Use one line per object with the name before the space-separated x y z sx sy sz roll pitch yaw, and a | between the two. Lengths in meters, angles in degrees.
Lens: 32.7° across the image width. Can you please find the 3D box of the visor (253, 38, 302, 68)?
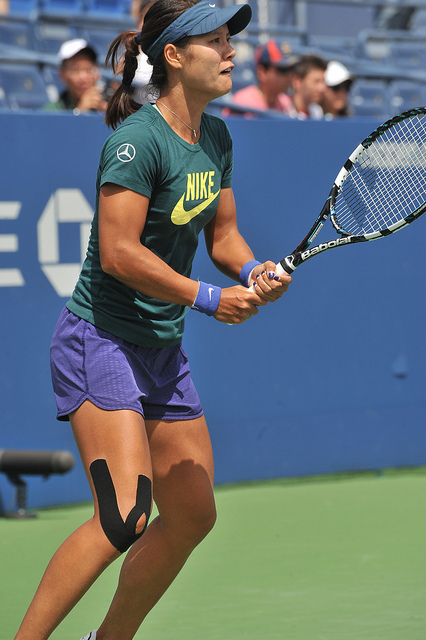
visor | 0.457 -1.791 4.924 0.303 0.250 0.655 -2 10 8

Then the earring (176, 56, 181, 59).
earring | -0.088 -0.659 1.820 0.011 0.007 0.002 -5 55 -11

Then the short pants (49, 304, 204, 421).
short pants | -0.260 0.097 2.032 0.314 0.351 0.569 -1 -6 21

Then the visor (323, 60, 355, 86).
visor | 0.793 -1.612 4.756 0.070 0.131 0.238 13 -2 45

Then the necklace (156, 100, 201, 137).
necklace | -0.092 -0.508 1.827 0.026 0.146 0.041 -43 15 3
